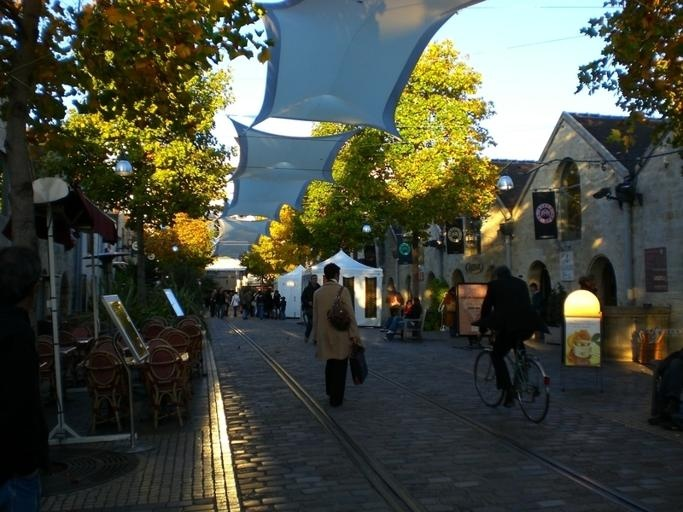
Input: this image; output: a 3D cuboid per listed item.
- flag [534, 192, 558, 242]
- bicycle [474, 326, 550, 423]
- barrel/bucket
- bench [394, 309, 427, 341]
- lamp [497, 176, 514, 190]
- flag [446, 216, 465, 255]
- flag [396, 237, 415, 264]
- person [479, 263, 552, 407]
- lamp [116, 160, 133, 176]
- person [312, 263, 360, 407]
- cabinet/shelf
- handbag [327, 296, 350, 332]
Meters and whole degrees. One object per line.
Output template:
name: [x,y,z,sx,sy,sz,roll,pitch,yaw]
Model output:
flag: [7.445,-1.505,24.386,0.769,1.741,0.564,-2,-3,17]
bicycle: [2.728,1.858,9.957,0.700,1.003,1.593,-1,2,-15]
barrel/bucket: [7.662,2.087,17.364,1.151,1.257,0.908,0,-6,-6]
bench: [2.476,2.579,23.674,0.974,1.170,0.853,1,-6,-7]
lamp: [4.991,-2.247,20.280,0.346,0.427,0.654,-2,-4,22]
flag: [5.157,-0.914,30.368,0.814,1.561,0.704,-1,-3,4]
flag: [3.287,-0.245,34.294,0.671,1.342,1.608,-1,-4,1]
person: [2.430,1.174,9.764,0.849,2.067,0.650,-1,-3,12]
lamp: [-5.504,-2.193,16.773,0.374,0.420,0.393,-3,3,-13]
person: [-0.092,1.246,10.765,0.700,2.251,0.807,0,-3,-4]
cabinet/shelf: [7.985,2.017,17.501,1.747,1.942,1.381,0,-6,-6]
handbag: [-0.046,0.954,10.573,0.319,0.817,0.314,6,-42,-8]
